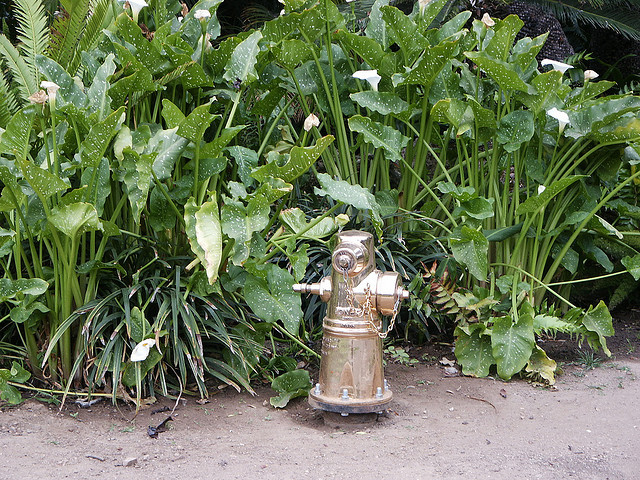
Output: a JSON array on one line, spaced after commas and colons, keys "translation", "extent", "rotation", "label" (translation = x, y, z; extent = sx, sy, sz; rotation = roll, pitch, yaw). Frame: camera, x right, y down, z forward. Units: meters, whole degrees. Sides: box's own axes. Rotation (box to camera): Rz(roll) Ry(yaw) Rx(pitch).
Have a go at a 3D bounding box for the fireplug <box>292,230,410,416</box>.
[{"translation": [0.224, 0.551, 3.810], "extent": [0.656, 1.166, 0.451], "rotation": [-1, 12, -3], "label": "fireplug"}]
